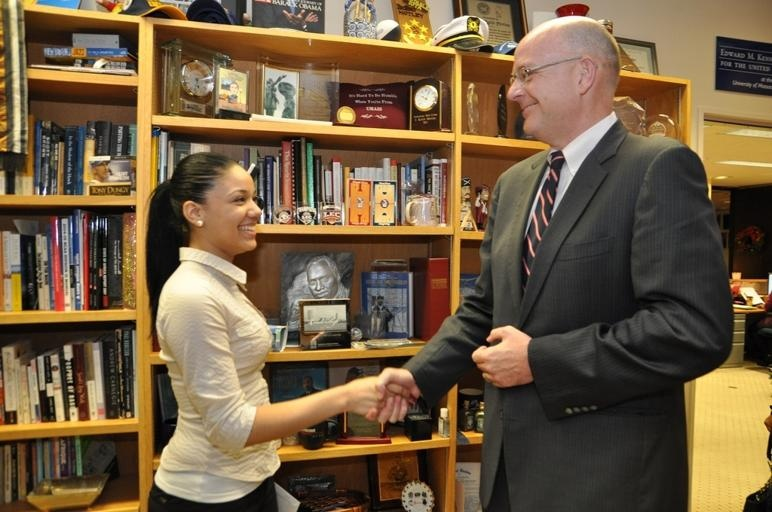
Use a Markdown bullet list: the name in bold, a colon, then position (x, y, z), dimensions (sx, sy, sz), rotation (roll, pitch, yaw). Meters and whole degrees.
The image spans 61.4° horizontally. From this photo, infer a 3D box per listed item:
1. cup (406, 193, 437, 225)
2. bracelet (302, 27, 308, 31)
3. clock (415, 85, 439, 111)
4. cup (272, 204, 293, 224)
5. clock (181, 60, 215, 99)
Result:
- **cup**: position (0.207, -0.264, 3.714), dimensions (0.197, 0.180, 0.131), rotation (0, 3, -20)
- **bracelet**: position (-0.465, -1.300, 3.725), dimensions (0.030, 0.022, 0.009), rotation (-6, -6, -27)
- **clock**: position (0.239, -0.905, 3.723), dimensions (0.111, 0.110, 0.015), rotation (-32, -3, -2)
- **cup**: position (-0.567, -0.229, 3.584), dimensions (0.097, 0.104, 0.095), rotation (2, 6, 0)
- **clock**: position (-1.015, -0.943, 3.482), dimensions (0.230, 0.250, 0.034), rotation (-1, 0, -30)
